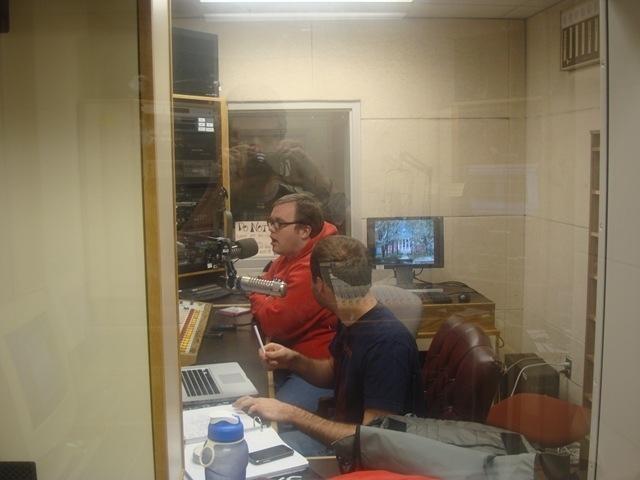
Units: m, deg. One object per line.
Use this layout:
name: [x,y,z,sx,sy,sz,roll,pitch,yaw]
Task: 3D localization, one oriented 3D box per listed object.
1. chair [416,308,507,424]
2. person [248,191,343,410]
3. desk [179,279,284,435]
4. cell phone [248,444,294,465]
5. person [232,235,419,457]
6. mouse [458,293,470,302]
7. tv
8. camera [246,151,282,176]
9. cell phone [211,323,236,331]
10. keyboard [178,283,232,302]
chair: [0.421,0.369,1.896,0.326,0.358,0.247,-8,34,-8]
person: [-0.092,0.241,1.844,0.326,0.749,0.339,4,10,11]
desk: [-0.296,0.421,1.931,0.322,0.346,0.489,-2,21,-9]
cell phone: [-0.153,0.675,1.738,0.098,0.014,0.057,-8,20,-23]
person: [0.010,0.476,1.836,0.608,0.946,0.471,5,-1,-23]
mouse: [0.459,0.184,1.756,0.027,0.030,0.018,0,7,4]
tv: [0.275,0.031,1.731,0.201,0.199,0.069,-1,-1,1]
camera: [-0.171,-0.247,1.728,0.093,0.062,0.026,17,3,-2]
cell phone: [-0.310,0.274,1.753,0.065,0.017,0.035,2,7,-2]
keyboard: [-0.363,0.168,1.741,0.160,0.053,0.013,-1,6,0]
